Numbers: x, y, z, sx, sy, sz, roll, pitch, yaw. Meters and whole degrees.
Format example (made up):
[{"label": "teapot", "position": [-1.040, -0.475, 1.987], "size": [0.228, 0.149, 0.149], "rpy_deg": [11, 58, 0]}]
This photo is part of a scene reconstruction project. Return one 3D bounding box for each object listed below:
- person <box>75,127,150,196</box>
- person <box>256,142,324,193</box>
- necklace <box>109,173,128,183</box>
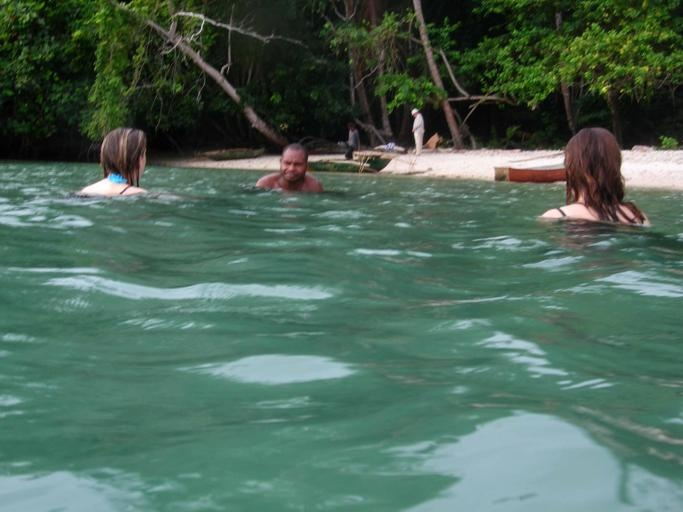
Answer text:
[{"label": "person", "position": [-2.310, -0.960, 6.343], "size": [0.541, 0.694, 0.737], "rpy_deg": [-13, 17, -41]}, {"label": "person", "position": [-0.675, -1.194, 8.377], "size": [0.608, 0.662, 0.800], "rpy_deg": [-12, 17, -40]}, {"label": "necklace", "position": [-2.332, -0.798, 6.387], "size": [0.115, 0.039, 0.126], "rpy_deg": [12, 1, -11]}]
